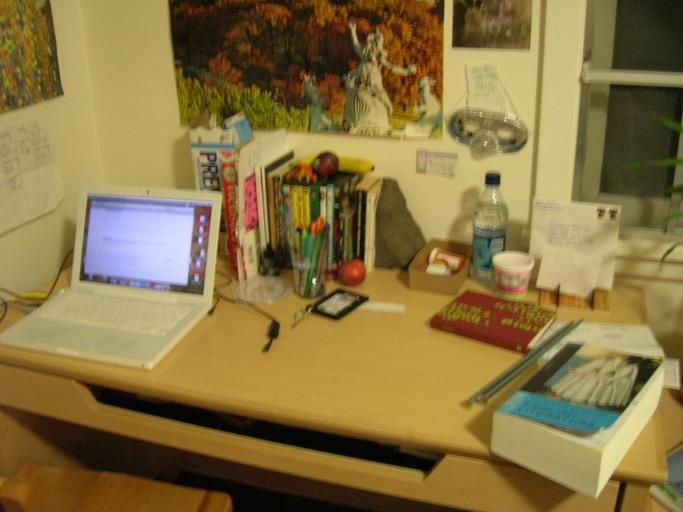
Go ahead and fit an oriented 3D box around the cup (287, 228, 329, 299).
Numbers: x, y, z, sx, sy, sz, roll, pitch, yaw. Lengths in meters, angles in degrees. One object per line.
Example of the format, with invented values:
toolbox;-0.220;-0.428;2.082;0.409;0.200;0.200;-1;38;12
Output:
cup;-0.099;0.010;1.642;0.105;0.207;0.070;26;34;34

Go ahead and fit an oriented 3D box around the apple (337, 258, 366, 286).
apple;0.032;0.048;1.739;0.073;0.077;0.081;6;2;13

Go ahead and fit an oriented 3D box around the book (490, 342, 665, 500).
book;0.516;0.328;1.186;0.222;0.148;0.386;19;30;40

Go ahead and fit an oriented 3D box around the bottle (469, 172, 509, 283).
bottle;0.444;-0.090;1.707;0.111;0.317;0.121;0;16;0

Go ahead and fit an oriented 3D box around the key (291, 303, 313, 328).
key;-0.115;0.167;1.567;0.016;0.055;0.050;33;44;31

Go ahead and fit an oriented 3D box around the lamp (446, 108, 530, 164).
lamp;0.444;-0.374;1.644;0.182;0.158;0.095;15;27;31

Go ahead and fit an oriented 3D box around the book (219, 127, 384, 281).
book;-0.100;-0.174;1.841;0.553;0.604;0.422;6;17;13

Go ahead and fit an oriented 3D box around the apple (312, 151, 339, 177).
apple;-0.048;-0.287;1.723;0.081;0.069;0.062;-21;19;-40
